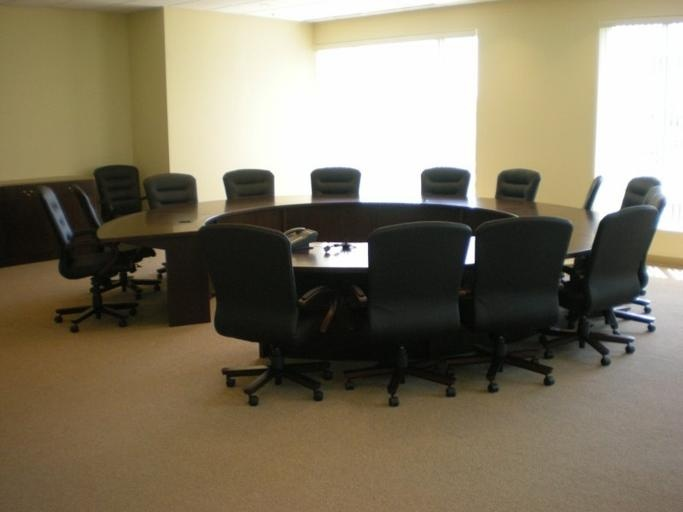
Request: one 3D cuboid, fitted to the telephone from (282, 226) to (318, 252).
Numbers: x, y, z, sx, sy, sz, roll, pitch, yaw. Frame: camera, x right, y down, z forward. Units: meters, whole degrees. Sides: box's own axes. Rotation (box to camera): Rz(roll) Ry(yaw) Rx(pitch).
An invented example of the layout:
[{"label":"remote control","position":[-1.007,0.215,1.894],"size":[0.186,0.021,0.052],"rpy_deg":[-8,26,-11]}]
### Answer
[{"label":"telephone","position":[-0.311,-0.141,4.410],"size":[0.203,0.093,0.206],"rpy_deg":[-15,27,-27]}]
